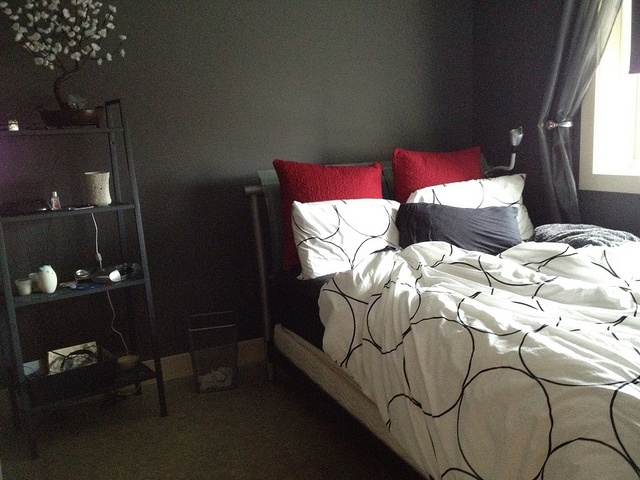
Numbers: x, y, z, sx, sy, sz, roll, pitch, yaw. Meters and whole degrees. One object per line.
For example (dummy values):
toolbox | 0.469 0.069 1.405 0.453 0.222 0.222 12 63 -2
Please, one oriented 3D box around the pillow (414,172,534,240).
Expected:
pillow | 0.951 -0.266 2.974 0.648 0.407 0.188 -7 -6 -21

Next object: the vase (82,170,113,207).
vase | -1.165 -0.270 2.610 0.153 0.178 0.146 2 12 42

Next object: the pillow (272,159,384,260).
pillow | 0.029 -0.154 2.770 0.521 0.518 0.201 -3 -5 -18

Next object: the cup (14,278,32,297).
cup | -1.500 0.243 2.451 0.070 0.071 0.079 -2 -3 23

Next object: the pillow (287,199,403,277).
pillow | 0.121 -0.037 2.654 0.634 0.409 0.175 -7 -6 -25

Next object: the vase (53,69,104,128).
vase | -1.252 -0.737 2.557 0.259 0.338 0.234 -2 5 -21
